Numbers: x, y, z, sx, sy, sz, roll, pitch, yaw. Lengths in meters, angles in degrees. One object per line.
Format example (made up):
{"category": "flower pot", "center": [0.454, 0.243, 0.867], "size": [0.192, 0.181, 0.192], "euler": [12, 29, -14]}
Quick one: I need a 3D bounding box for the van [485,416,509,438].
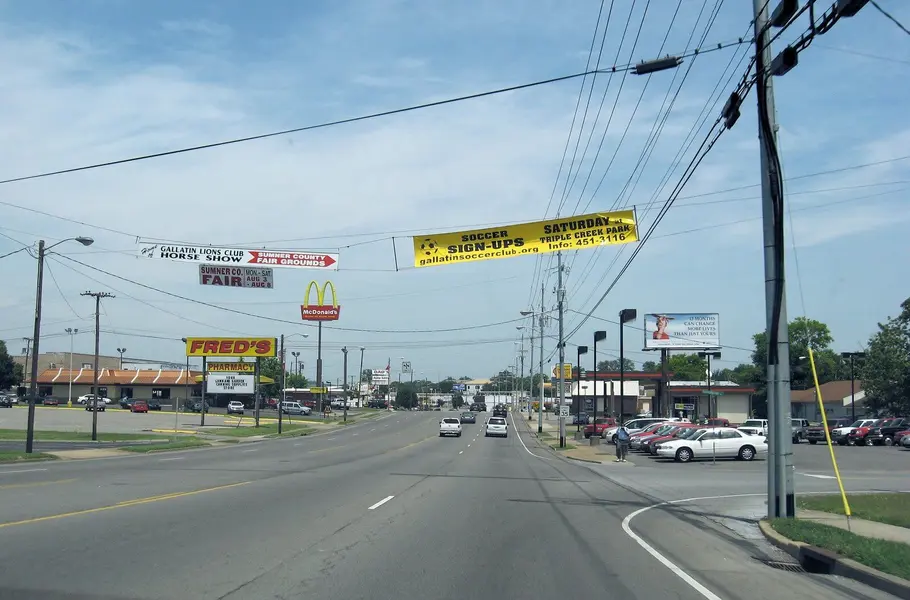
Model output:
{"category": "van", "center": [3.221, 9.663, 73.281], "size": [1.561, 1.578, 3.474], "euler": [0, -11, 0]}

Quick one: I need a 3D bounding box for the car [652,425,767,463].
{"category": "car", "center": [13.811, 7.651, 50.456], "size": [5.319, 1.692, 2.284], "euler": [2, -7, -5]}
